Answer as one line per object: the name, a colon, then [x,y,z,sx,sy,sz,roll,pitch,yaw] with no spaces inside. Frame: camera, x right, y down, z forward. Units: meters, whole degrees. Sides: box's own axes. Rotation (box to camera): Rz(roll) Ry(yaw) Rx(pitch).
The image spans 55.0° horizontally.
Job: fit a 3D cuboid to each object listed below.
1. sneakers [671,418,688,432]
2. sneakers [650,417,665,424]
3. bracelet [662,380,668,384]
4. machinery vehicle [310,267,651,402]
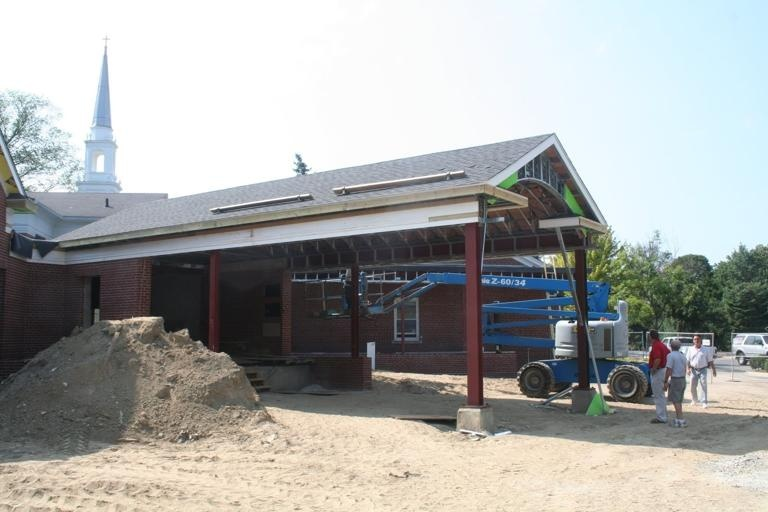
sneakers: [7.143,4.120,18.197,0.327,0.213,0.428,6,5,21]
sneakers: [6.807,4.175,18.682,0.364,0.109,0.130,2,-4,20]
bracelet: [6.838,3.122,18.250,0.141,0.101,0.128,3,-3,-28]
machinery vehicle: [3.819,2.563,25.374,10.980,3.691,3.095,-2,8,33]
